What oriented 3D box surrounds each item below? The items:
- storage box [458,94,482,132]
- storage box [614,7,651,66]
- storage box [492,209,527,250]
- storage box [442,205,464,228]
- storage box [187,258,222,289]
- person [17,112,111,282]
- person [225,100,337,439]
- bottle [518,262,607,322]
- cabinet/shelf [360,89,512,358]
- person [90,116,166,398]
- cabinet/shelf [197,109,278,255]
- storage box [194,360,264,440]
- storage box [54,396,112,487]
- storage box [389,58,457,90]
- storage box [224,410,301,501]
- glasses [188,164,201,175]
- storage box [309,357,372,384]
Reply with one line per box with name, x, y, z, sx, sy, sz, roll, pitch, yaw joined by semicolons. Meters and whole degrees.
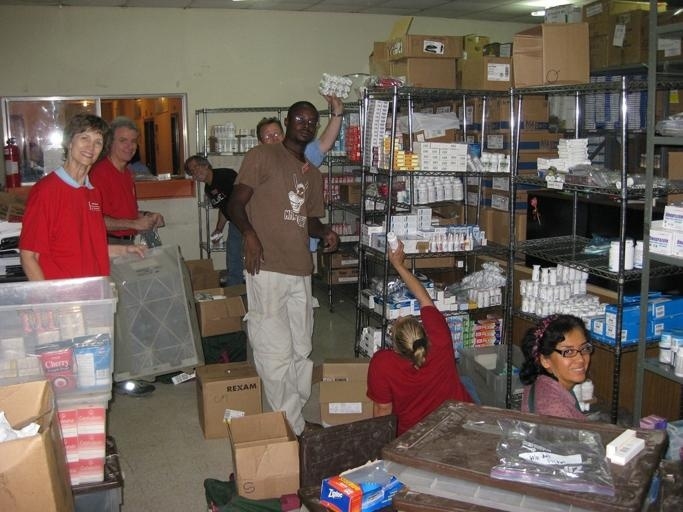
storage box;1.141;-1.281;4.954;0.172;0.282;0.294;-6;44;0
storage box;2.993;-2.239;5.739;0.231;0.540;0.328;-7;14;-27
storage box;1.354;-0.219;4.482;0.195;0.330;0.344;-4;6;-30
storage box;1.040;-0.381;5.178;0.203;0.185;0.266;2;-15;8
storage box;-1.386;0.194;5.633;0.344;0.198;0.339;-3;19;-22
person;-1.375;-0.211;2.896;0.371;1.093;0.475;-8;16;-42
person;-0.345;0.081;3.472;0.591;2.019;0.830;2;2;35
bottle;1.426;0.233;3.699;0.493;0.347;0.326;-1;14;-11
cabinet/shelf;0.624;-0.088;4.618;1.146;2.353;0.912;1;13;-15
person;-1.691;-0.017;4.672;0.754;2.131;0.656;-4;6;-16
cabinet/shelf;-1.493;-1.140;7.381;1.153;2.075;0.634;-5;16;-22
storage box;-0.786;0.934;3.880;0.516;0.418;0.434;-3;8;-17
storage box;-0.895;0.640;2.075;0.256;0.257;0.276;-5;9;-26
storage box;0.706;-1.567;4.777;0.567;0.245;0.335;1;13;3
storage box;-0.399;1.067;2.964;0.334;0.375;0.325;-4;14;-18
glasses;-1.411;-0.840;5.416;0.092;0.095;0.073;8;-3;16
storage box;-0.002;0.882;3.884;0.467;0.283;0.237;1;-1;-6
